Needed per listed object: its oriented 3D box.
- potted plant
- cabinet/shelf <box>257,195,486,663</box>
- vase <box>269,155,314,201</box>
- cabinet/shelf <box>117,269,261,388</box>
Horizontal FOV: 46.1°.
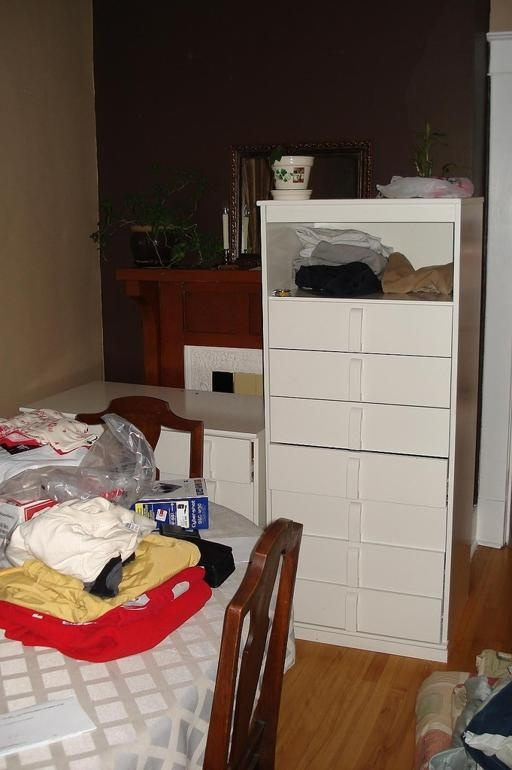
[{"bbox_3d":[-0.535,-0.827,2.981,0.736,0.492,0.295,5,11,37],"label":"potted plant"},{"bbox_3d":[0.390,0.129,2.188,0.728,1.549,0.521,2,10,26],"label":"cabinet/shelf"},{"bbox_3d":[0.125,-0.707,2.119,0.159,0.159,0.165,3,12,17],"label":"vase"},{"bbox_3d":[-0.284,-0.263,2.867,0.706,0.593,0.204,1,9,17],"label":"cabinet/shelf"}]
